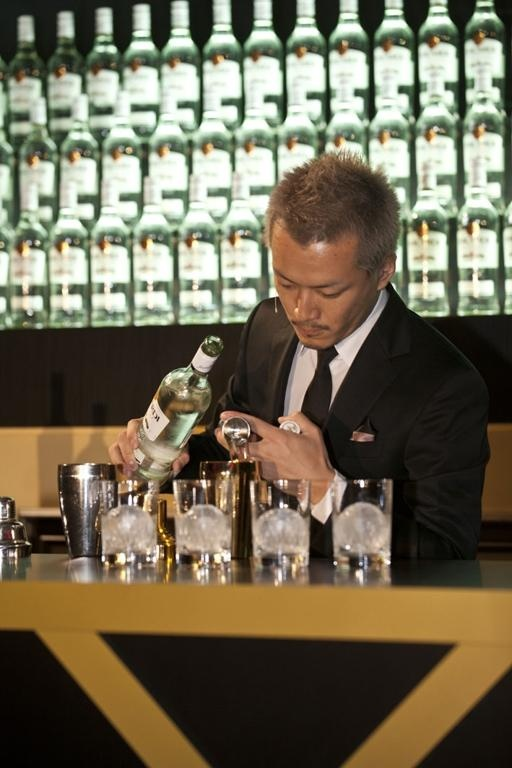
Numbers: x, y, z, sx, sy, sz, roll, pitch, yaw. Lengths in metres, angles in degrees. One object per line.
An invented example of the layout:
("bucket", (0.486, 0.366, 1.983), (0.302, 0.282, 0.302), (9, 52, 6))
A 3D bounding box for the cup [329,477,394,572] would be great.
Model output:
("cup", (0.116, 0.149, 0.962), (0.068, 0.090, 0.061), (1, -11, 1))

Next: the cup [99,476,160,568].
("cup", (-0.138, 0.151, 0.970), (0.062, 0.096, 0.037), (-3, 6, -8))

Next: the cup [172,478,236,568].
("cup", (-0.059, 0.151, 0.985), (0.069, 0.091, 0.060), (0, -10, -8))

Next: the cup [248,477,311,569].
("cup", (0.026, 0.149, 0.945), (0.063, 0.097, 0.090), (-2, 6, 2))

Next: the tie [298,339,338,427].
("tie", (0.110, -0.007, 1.464), (0.039, 0.161, 0.019), (3, 46, 1))

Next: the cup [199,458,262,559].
("cup", (-0.035, 0.144, 1.062), (0.065, 0.103, 0.060), (-5, -3, 0))
